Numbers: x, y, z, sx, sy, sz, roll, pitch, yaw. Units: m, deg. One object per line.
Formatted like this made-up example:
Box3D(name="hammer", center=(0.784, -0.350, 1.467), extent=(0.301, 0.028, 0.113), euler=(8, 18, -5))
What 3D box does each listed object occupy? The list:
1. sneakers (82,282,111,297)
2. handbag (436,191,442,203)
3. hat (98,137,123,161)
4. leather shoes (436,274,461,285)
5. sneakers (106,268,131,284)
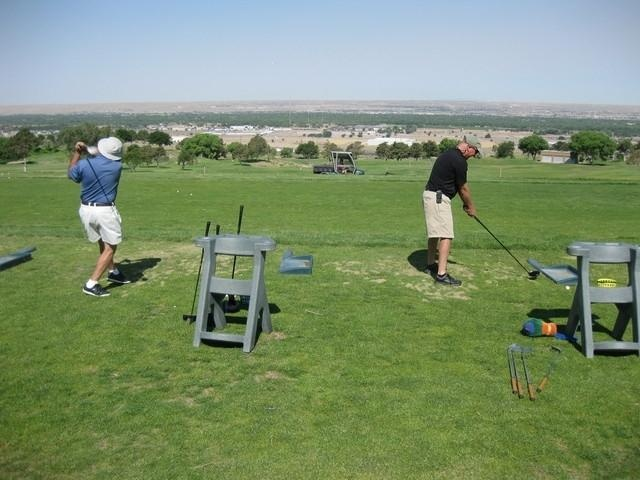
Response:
Box3D(name="sneakers", center=(-4.055, 0.917, 8.930), extent=(0.541, 0.231, 0.204), euler=(4, 11, -12))
Box3D(name="handbag", center=(2.419, -0.858, 9.897), extent=(0.114, 0.202, 0.050), euler=(-1, -5, 15))
Box3D(name="hat", center=(-3.912, -1.696, 9.062), extent=(0.438, 0.471, 0.205), euler=(5, -24, -37))
Box3D(name="leather shoes", center=(2.550, 0.795, 9.659), extent=(0.404, 0.177, 0.203), euler=(0, 2, 4))
Box3D(name="sneakers", center=(-4.067, 0.731, 9.658), extent=(0.526, 0.213, 0.217), euler=(4, 9, -4))
